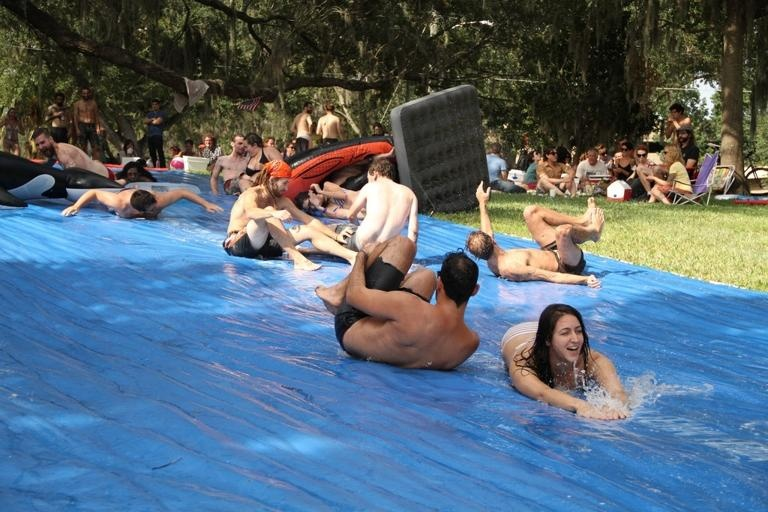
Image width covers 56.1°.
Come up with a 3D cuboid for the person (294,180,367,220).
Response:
[{"bbox_3d":[-0.905,-0.880,11.515,1.105,0.453,0.406,27,42,34],"label":"person"}]

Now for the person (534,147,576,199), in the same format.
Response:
[{"bbox_3d":[4.488,-2.090,18.435,0.915,1.488,1.434,-4,4,-24],"label":"person"}]

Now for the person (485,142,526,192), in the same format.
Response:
[{"bbox_3d":[3.380,-2.500,20.073,1.321,1.366,0.941,19,30,39],"label":"person"}]

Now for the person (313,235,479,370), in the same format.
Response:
[{"bbox_3d":[0.168,0.388,6.691,0.868,1.065,1.409,35,4,-33],"label":"person"}]

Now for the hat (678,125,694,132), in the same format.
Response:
[{"bbox_3d":[6.977,-2.926,16.387,0.301,0.122,0.208,1,3,-14],"label":"hat"}]

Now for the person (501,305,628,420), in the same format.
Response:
[{"bbox_3d":[1.454,0.847,6.032,0.574,0.587,1.247,-19,33,-11],"label":"person"}]

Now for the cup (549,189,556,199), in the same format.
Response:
[{"bbox_3d":[4.134,-1.517,17.500,0.243,0.227,0.209,4,10,31],"label":"cup"}]

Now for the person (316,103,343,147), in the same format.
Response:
[{"bbox_3d":[-1.465,-3.638,19.702,0.661,1.149,1.518,4,6,-4],"label":"person"}]

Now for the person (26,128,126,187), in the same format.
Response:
[{"bbox_3d":[-5.334,-1.767,12.114,0.438,0.680,1.544,6,6,15],"label":"person"}]

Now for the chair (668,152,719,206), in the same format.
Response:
[{"bbox_3d":[6.829,-1.706,15.693,0.838,1.188,1.094,6,6,22],"label":"chair"}]

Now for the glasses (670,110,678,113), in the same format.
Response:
[{"bbox_3d":[7.085,-3.545,17.463,0.102,0.101,0.102,-7,19,-15],"label":"glasses"}]
